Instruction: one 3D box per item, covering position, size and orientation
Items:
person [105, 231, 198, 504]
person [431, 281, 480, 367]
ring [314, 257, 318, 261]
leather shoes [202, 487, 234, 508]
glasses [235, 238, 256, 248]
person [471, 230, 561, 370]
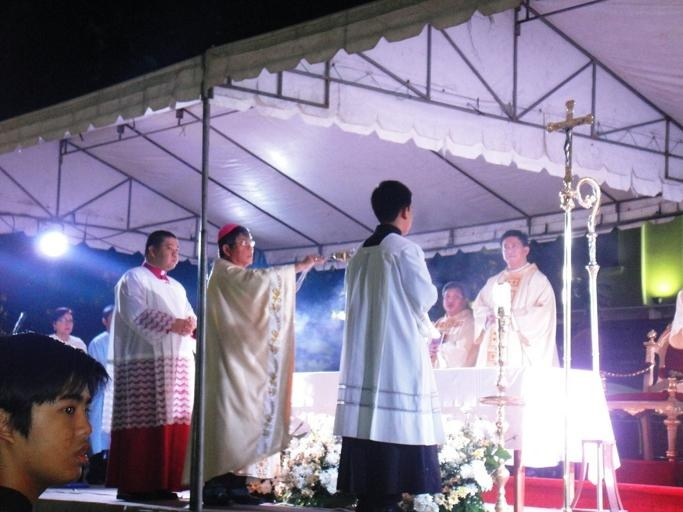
[{"bbox_3d":[-1.634,0.983,9.758,0.794,2.477,0.819,-5,-10,26],"label":"person"},{"bbox_3d":[1.296,0.775,11.917,0.413,1.002,0.467,25,-38,-26],"label":"person"},{"bbox_3d":[-0.226,0.027,9.138,0.026,0.017,0.028,1,-40,1],"label":"ring"},{"bbox_3d":[-1.039,2.031,8.963,0.252,0.170,0.127,3,-18,-12],"label":"leather shoes"},{"bbox_3d":[-0.889,-0.122,9.686,0.114,0.035,0.115,-16,-16,36],"label":"glasses"},{"bbox_3d":[1.864,0.495,11.554,0.898,1.683,1.255,-4,-18,11],"label":"person"}]
